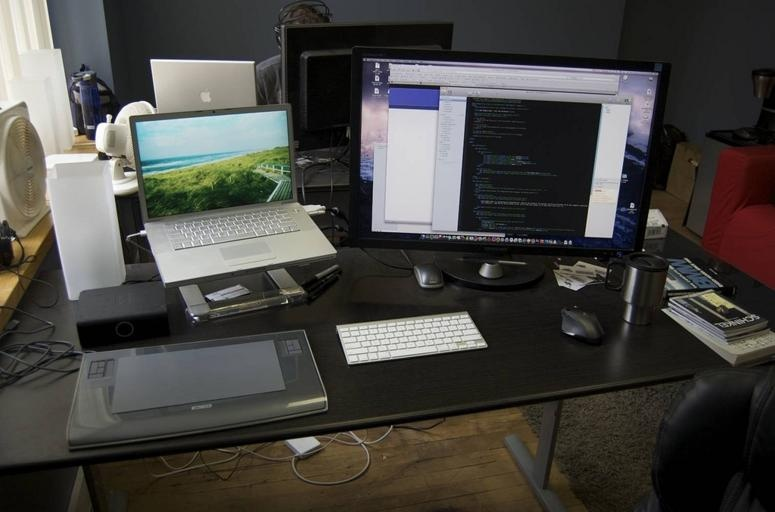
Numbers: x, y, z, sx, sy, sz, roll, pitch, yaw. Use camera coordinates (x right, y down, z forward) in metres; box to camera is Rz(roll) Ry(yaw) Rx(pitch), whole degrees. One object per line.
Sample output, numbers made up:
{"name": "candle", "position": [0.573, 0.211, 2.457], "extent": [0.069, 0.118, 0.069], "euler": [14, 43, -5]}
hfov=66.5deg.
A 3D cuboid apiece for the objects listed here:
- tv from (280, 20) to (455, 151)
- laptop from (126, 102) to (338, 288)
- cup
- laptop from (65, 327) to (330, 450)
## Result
{"name": "tv", "position": [-0.098, -0.618, 2.147], "extent": [0.700, 0.472, 0.177], "euler": [-6, 33, -8]}
{"name": "laptop", "position": [-0.523, -0.199, 1.988], "extent": [0.702, 0.479, 0.588], "euler": [-11, 43, -21]}
{"name": "cup", "position": [0.780, 0.081, 1.879], "extent": [0.249, 0.253, 0.167], "euler": [2, 23, 16]}
{"name": "laptop", "position": [-0.514, 0.339, 1.550], "extent": [0.491, 0.092, 0.257], "euler": [-6, 50, -11]}
